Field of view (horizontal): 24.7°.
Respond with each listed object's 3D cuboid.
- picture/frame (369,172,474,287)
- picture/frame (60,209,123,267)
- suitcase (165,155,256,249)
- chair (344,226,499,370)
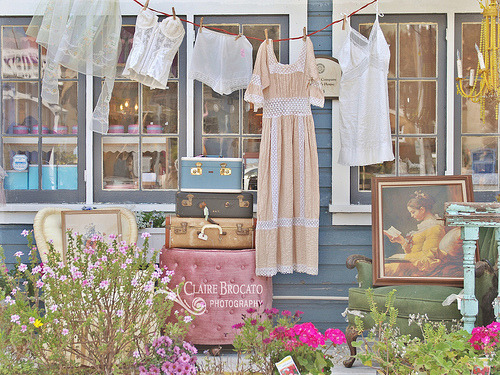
[{"bbox_3d":[1.376,0.369,9.062,0.841,0.958,0.075,0,-6,5],"label":"picture/frame"},{"bbox_3d":[-1.267,0.407,8.945,0.418,0.409,0.042,-1,-16,-15],"label":"picture/frame"},{"bbox_3d":[-0.328,0.137,9.584,0.712,0.725,0.739,1,-3,-1],"label":"suitcase"},{"bbox_3d":[1.391,0.971,9.252,1.088,1.416,1.123,-7,-16,36],"label":"chair"}]
